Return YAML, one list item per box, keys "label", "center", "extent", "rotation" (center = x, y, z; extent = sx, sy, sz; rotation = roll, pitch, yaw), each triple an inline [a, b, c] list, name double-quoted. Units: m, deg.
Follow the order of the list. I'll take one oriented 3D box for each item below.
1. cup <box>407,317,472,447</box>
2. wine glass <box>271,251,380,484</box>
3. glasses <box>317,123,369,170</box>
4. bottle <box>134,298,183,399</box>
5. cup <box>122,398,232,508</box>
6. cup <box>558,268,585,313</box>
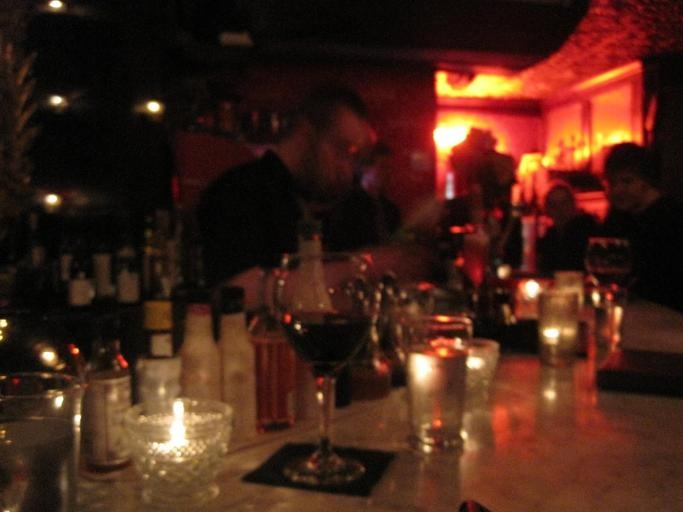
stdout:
- label: "cup"
  center: [0.253, 0.322, 1.863]
  extent: [0.165, 0.320, 0.239]
  rotation: [1, -2, 6]
- label: "wine glass"
  center: [-0.042, 0.261, 1.676]
  extent: [0.181, 0.532, 0.178]
  rotation: [3, -3, -44]
- label: "glasses"
  center: [0.023, -0.485, 3.348]
  extent: [0.221, 0.215, 0.163]
  rotation: [16, 2, 3]
- label: "bottle"
  center: [-0.443, 0.232, 1.735]
  extent: [0.102, 0.242, 0.060]
  rotation: [1, -2, -16]
- label: "cup"
  center: [-0.388, 0.419, 1.677]
  extent: [0.226, 0.179, 0.230]
  rotation: [3, 6, 0]
- label: "cup"
  center: [0.765, 0.114, 2.416]
  extent: [0.114, 0.124, 0.113]
  rotation: [1, 0, 0]
